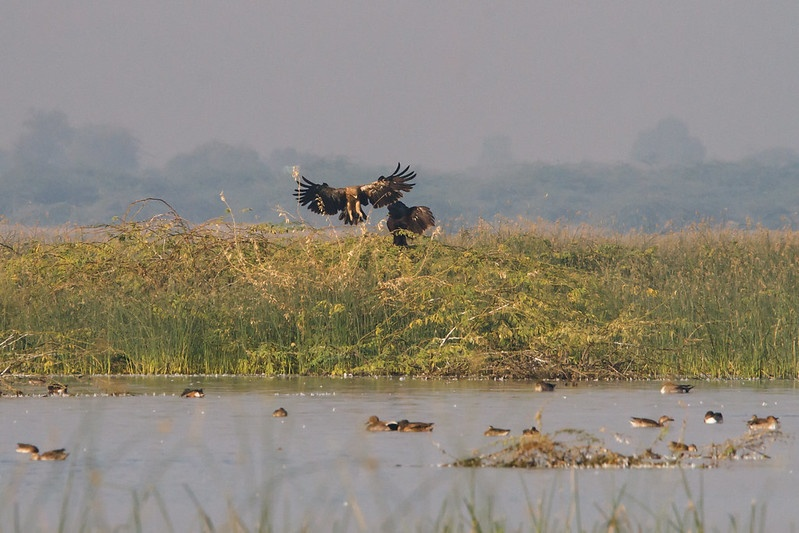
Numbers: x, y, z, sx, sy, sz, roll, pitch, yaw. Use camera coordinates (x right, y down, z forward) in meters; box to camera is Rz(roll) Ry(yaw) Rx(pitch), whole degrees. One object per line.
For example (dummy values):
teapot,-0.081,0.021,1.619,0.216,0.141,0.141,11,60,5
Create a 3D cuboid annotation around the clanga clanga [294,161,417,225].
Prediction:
clanga clanga,-0.939,-1.318,34.009,2.102,1.075,0.478,2,-11,-11
